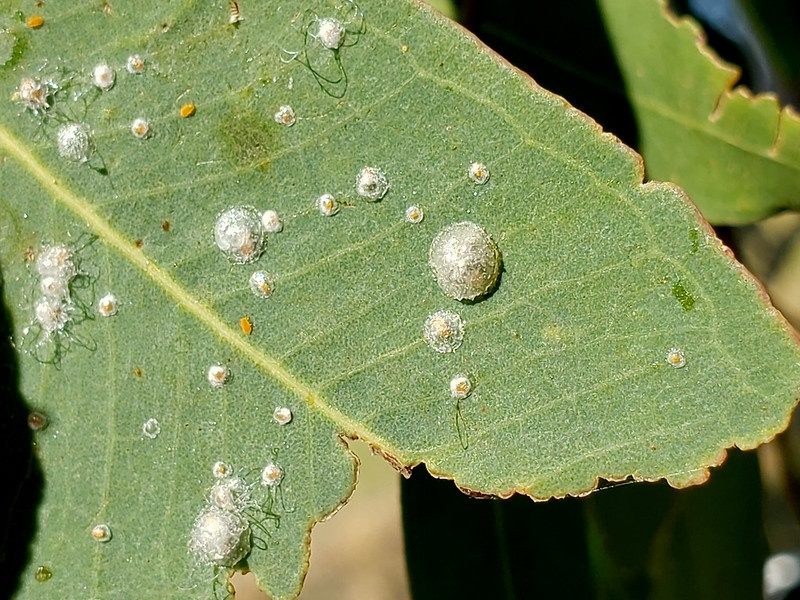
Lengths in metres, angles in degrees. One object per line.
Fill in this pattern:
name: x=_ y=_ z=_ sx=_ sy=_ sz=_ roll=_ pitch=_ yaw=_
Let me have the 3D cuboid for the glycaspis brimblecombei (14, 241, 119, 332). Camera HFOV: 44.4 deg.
glycaspis brimblecombei: x=-0.797 y=-0.027 z=2.322 sx=0.141 sy=0.047 sz=0.205 roll=0 pitch=79 yaw=7

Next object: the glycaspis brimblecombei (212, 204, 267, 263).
glycaspis brimblecombei: x=-0.392 y=-0.135 z=2.324 sx=0.106 sy=0.134 sz=0.033 roll=16 pitch=61 yaw=10

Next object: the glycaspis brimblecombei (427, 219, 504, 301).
glycaspis brimblecombei: x=0.153 y=-0.091 z=2.275 sx=0.163 sy=0.063 sz=0.182 roll=-29 pitch=77 yaw=1

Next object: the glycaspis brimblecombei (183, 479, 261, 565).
glycaspis brimblecombei: x=-0.407 y=0.535 z=2.311 sx=0.145 sy=0.038 sz=0.210 roll=30 pitch=84 yaw=12
